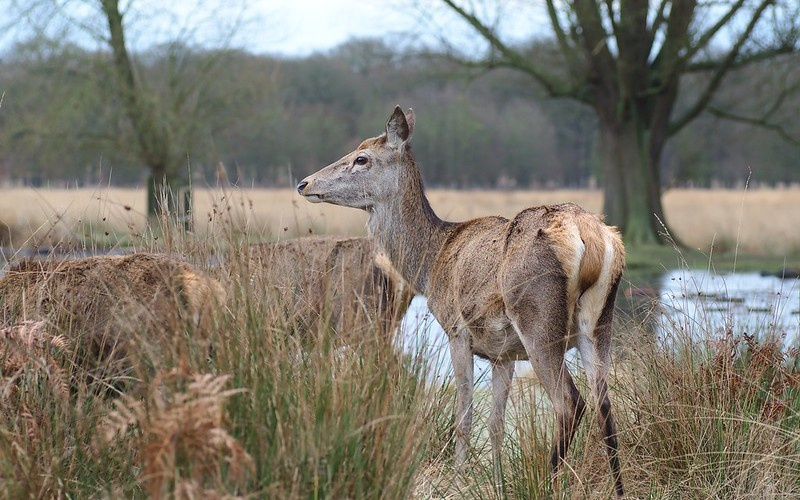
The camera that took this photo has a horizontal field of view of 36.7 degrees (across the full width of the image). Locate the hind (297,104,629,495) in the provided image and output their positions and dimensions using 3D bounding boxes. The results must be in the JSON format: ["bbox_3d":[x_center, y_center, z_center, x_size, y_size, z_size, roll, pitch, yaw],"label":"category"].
[{"bbox_3d":[0.994,0.511,14.188,3.370,4.490,1.054,1,6,36],"label":"hind"}]
